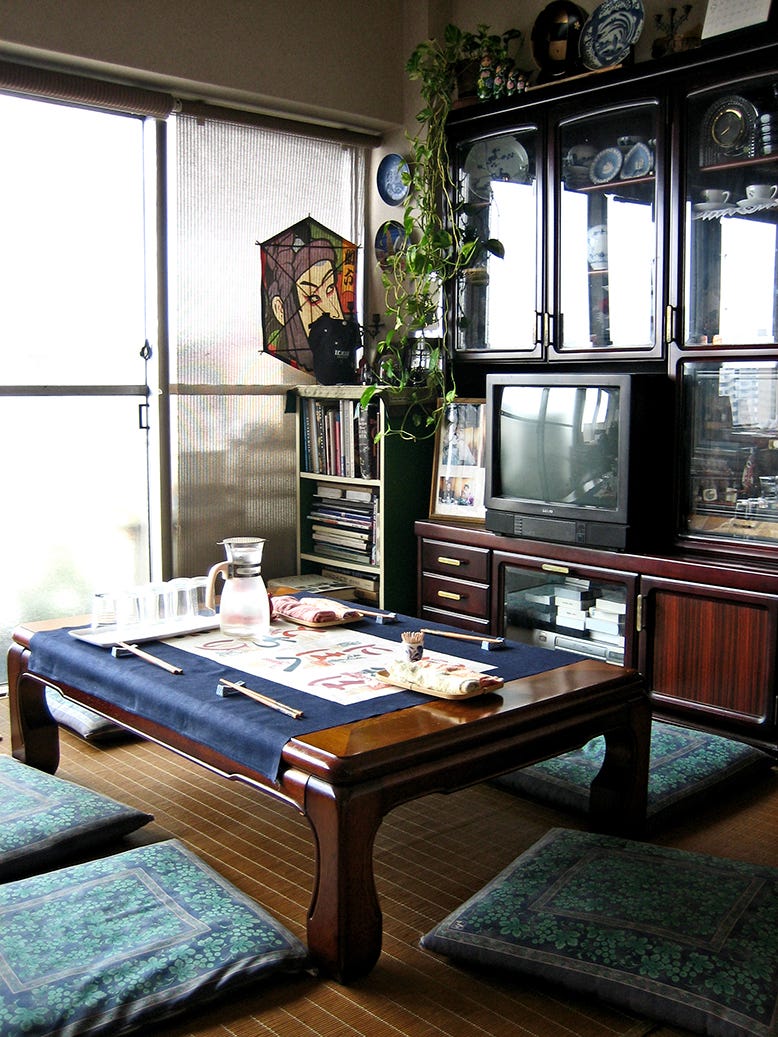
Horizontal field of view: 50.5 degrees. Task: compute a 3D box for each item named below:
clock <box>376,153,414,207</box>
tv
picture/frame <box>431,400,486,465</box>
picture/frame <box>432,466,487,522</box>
[{"bbox_3d":[0.014,-1.626,3.953,0.056,0.261,0.267,-4,30,-37],"label":"clock"},{"bbox_3d":[0.726,-0.205,2.935,0.375,0.603,0.675,-5,6,-40],"label":"tv"},{"bbox_3d":[0.307,-0.370,3.531,0.045,0.318,0.268,-3,10,-42],"label":"picture/frame"},{"bbox_3d":[0.309,-0.105,3.516,0.018,0.159,0.232,0,8,-43],"label":"picture/frame"}]
